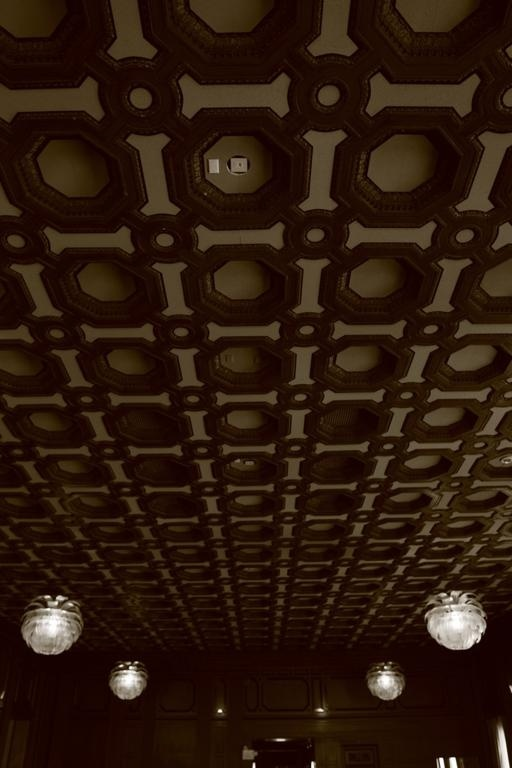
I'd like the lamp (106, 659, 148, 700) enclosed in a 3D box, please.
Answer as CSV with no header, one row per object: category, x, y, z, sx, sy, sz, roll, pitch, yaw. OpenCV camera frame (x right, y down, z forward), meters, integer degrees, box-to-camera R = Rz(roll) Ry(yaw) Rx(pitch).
lamp,-2.818,6.506,12.394,0.905,0.982,0.622,-1,3,-5

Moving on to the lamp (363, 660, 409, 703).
lamp,2.940,6.690,12.540,0.853,0.779,0.906,6,-41,4

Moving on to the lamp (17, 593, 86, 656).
lamp,-3.063,3.633,8.330,0.818,0.824,0.455,11,-37,-13

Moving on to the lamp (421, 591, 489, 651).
lamp,3.139,3.743,8.567,0.853,0.870,0.881,-8,2,39
